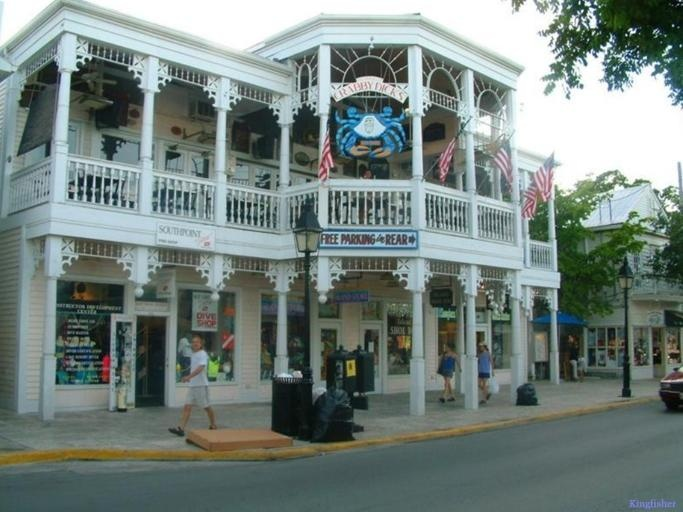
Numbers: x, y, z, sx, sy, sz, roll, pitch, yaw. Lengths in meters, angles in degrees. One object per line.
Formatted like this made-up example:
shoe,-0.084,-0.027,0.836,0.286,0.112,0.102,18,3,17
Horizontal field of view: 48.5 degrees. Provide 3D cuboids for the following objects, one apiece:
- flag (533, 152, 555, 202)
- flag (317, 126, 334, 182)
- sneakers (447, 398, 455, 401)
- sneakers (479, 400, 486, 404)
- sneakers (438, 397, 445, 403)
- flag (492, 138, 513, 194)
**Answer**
flag,7.404,-2.936,27.658,0.556,1.709,0.965,-9,-14,40
flag,-0.443,-2.913,21.493,0.341,1.647,0.632,0,-10,-2
sneakers,3.663,4.738,25.059,0.090,0.109,0.249,-10,-12,32
sneakers,4.638,4.756,24.656,0.104,0.106,0.268,-7,-13,31
sneakers,3.282,4.678,24.634,0.218,0.226,0.136,-8,-8,40
flag,5.286,-2.967,24.696,0.533,1.634,1.112,-3,-11,12
